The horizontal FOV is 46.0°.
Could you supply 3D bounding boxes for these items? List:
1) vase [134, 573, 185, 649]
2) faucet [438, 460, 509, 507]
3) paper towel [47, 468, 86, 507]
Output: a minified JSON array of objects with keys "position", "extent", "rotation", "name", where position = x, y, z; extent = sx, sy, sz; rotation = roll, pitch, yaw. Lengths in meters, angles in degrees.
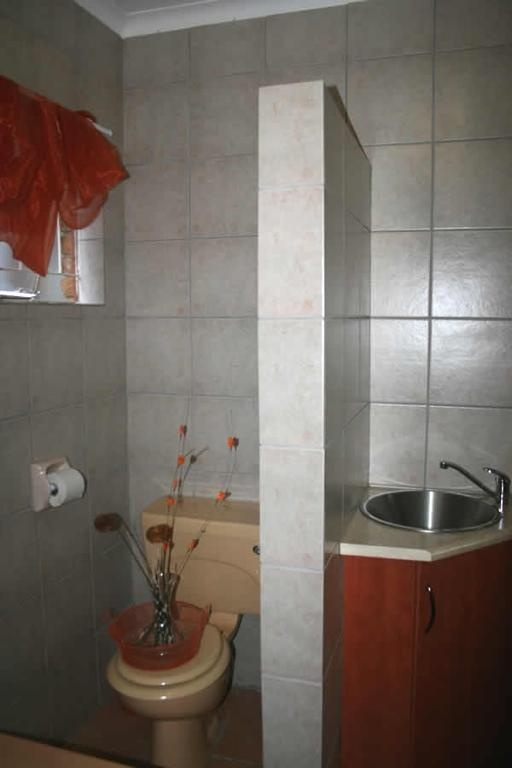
[{"position":[-0.207,0.490,1.336],"extent":[0.097,0.197,0.090],"rotation":[-4,12,-25],"name":"vase"},{"position":[0.571,0.246,1.590],"extent":[0.166,0.093,0.156],"rotation":[3,3,17],"name":"faucet"},{"position":[-0.378,0.207,1.246],"extent":[0.059,0.083,0.084],"rotation":[12,-15,10],"name":"paper towel"}]
